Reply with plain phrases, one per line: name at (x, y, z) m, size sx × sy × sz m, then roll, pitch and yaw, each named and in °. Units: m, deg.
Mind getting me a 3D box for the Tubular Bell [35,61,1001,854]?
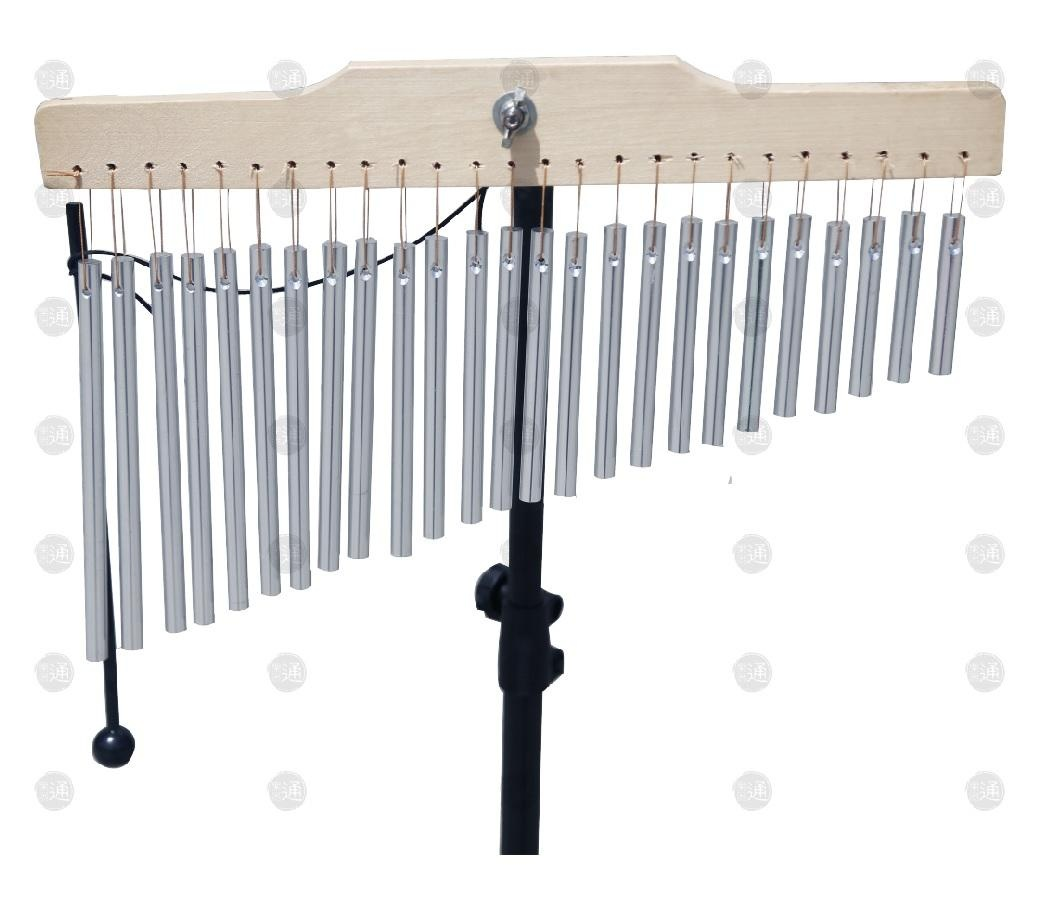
Tubular Bell at (-0.006, 0.235, 3.550) m, size 2.516 × 0.363 × 2.321 m, roll -1°, pitch -84°, yaw 4°
